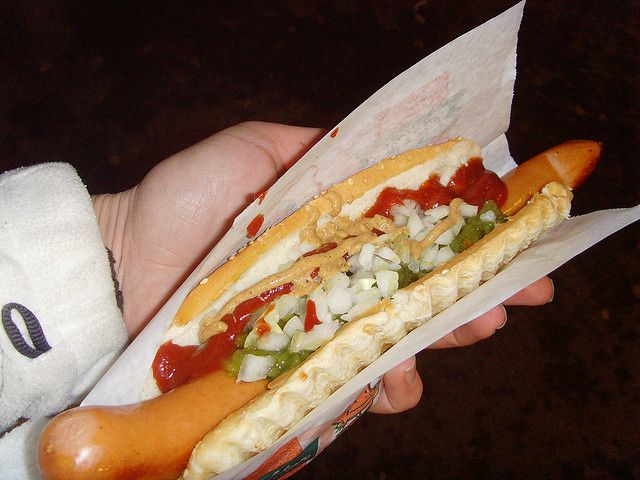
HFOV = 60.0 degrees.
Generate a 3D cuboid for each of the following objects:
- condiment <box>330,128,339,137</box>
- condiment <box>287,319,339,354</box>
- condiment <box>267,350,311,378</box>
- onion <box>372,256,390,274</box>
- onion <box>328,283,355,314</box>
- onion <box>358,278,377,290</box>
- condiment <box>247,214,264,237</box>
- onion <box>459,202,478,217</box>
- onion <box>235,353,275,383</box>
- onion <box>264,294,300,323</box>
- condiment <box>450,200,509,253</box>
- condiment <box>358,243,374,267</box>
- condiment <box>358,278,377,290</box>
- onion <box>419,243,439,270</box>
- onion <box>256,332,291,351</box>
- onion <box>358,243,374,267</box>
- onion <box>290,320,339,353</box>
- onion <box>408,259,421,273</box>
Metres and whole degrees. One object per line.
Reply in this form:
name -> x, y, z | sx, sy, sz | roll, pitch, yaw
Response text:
condiment -> 0.079, -0.584, 3.052 | 0.031, 0.049, 0.011 | -2, 46, -33
condiment -> 0.013, 0.476, 3.017 | 0.243, 0.391, 0.094 | -13, 103, 11
condiment -> -0.159, 0.661, 3.002 | 0.217, 0.049, 0.120 | -29, 57, -7
onion -> 0.341, 0.143, 3.099 | 0.099, 0.025, 0.081 | -2, 80, -2
onion -> 0.109, 0.319, 2.996 | 0.144, 0.054, 0.155 | 14, 79, 4
onion -> 0.269, 0.241, 3.025 | 0.095, 0.028, 0.052 | -7, 83, -15
condiment -> -0.361, -0.081, 3.120 | 0.032, 0.072, 0.128 | 27, 85, 50
onion -> 0.880, -0.179, 3.314 | 0.117, 0.035, 0.057 | 4, 67, -3
onion -> -0.347, 0.674, 2.953 | 0.131, 0.040, 0.191 | 39, 89, -25
onion -> -0.220, 0.364, 3.048 | 0.180, 0.095, 0.047 | -46, 43, -12
condiment -> 0.904, -0.056, 3.227 | 0.334, 0.115, 0.300 | -12, 38, 20
condiment -> 0.265, 0.086, 3.089 | 0.081, 0.040, 0.115 | 11, 77, 2
condiment -> 0.268, 0.238, 3.004 | 0.099, 0.025, 0.053 | -8, 85, -12
onion -> 0.619, 0.101, 3.160 | 0.059, 0.063, 0.172 | 24, 65, 18
onion -> -0.251, 0.544, 2.972 | 0.169, 0.047, 0.092 | -1, 78, 1
onion -> 0.267, 0.084, 3.093 | 0.080, 0.039, 0.113 | 11, 77, 3
onion -> -0.026, 0.519, 2.954 | 0.296, 0.043, 0.132 | -15, 78, -2
onion -> 0.538, 0.149, 3.150 | 0.071, 0.020, 0.062 | 14, 95, -25
